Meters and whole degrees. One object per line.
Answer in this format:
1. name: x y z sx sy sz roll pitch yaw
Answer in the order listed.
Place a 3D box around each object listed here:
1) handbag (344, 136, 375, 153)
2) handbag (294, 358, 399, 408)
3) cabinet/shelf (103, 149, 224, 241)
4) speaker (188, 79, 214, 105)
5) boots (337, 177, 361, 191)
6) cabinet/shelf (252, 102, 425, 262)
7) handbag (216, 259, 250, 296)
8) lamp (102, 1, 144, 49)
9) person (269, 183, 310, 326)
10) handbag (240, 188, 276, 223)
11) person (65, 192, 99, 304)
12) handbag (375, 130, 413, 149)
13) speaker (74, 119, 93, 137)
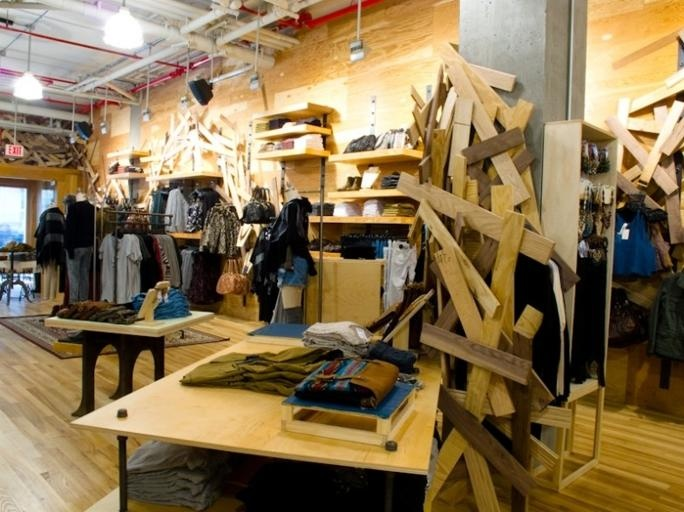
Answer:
1. handbag: 0.225 -1.437 6.739 0.337 0.137 0.241 2 14 32
2. handbag: 0.032 0.641 2.717 0.447 0.144 0.389 9 9 16
3. cabinet/shelf: -3.445 -1.262 10.285 0.691 1.476 3.204 -2 13 -44
4. speaker: -2.374 -2.762 8.750 0.398 0.417 0.240 7 10 -2
5. boots: 0.144 -0.957 6.902 0.408 0.219 0.137 5 5 36
6. cabinet/shelf: 0.000 -0.952 6.600 0.772 2.204 2.569 -2 2 -43
7. handbag: -1.762 0.341 8.496 0.485 0.620 0.652 0 -10 5
8. lamp: -2.428 -2.595 5.828 0.354 0.543 0.472 3 11 -24
9. person: -0.527 0.024 5.807 0.442 1.563 0.546 6 10 -7
10. handbag: -1.398 -0.777 8.024 0.749 0.673 0.451 1 3 -4
11. person: -4.203 -0.082 8.485 0.250 1.654 0.550 13 12 29
12. handbag: 0.620 -1.412 6.379 0.379 0.202 0.538 10 19 40
13. speaker: -6.172 -3.032 12.551 0.399 0.413 1.048 2 10 -26
